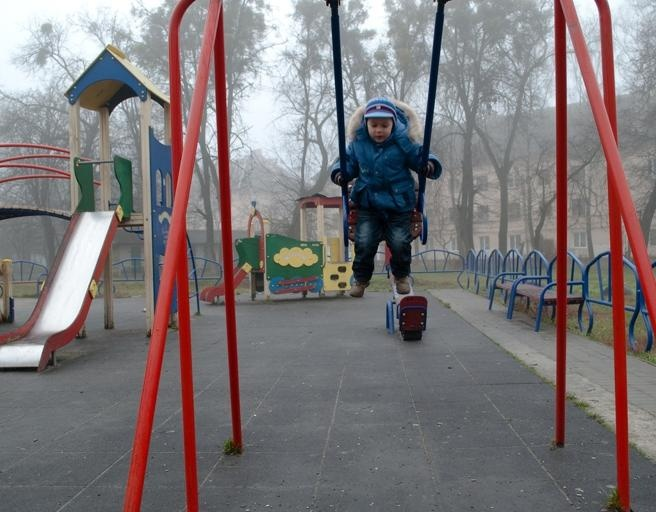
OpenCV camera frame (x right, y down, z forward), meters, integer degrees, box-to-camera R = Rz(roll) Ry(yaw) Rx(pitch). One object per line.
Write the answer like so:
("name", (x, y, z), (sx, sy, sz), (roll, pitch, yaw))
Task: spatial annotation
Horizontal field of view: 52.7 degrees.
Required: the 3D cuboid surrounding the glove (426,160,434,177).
("glove", (0.922, -0.798, 5.994), (0.089, 0.141, 0.116), (-2, 14, 3))
